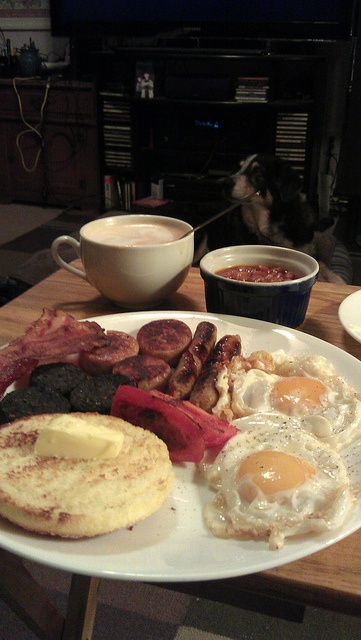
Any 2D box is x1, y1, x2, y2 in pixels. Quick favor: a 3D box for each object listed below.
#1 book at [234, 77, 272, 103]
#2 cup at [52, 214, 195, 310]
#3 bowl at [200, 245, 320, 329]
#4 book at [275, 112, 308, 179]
[{"bbox_3d":[0.584,-1.860,3.737,0.211,0.079,0.233,-1,40,3],"label":"book"},{"bbox_3d":[-0.117,-0.111,0.951,0.269,0.167,0.232,-1,24,-1],"label":"cup"},{"bbox_3d":[0.150,-0.066,0.824,0.173,0.091,0.175,-1,32,1],"label":"bowl"},{"bbox_3d":[0.898,-1.419,3.748,0.092,0.482,0.321,-20,32,-41],"label":"book"}]
